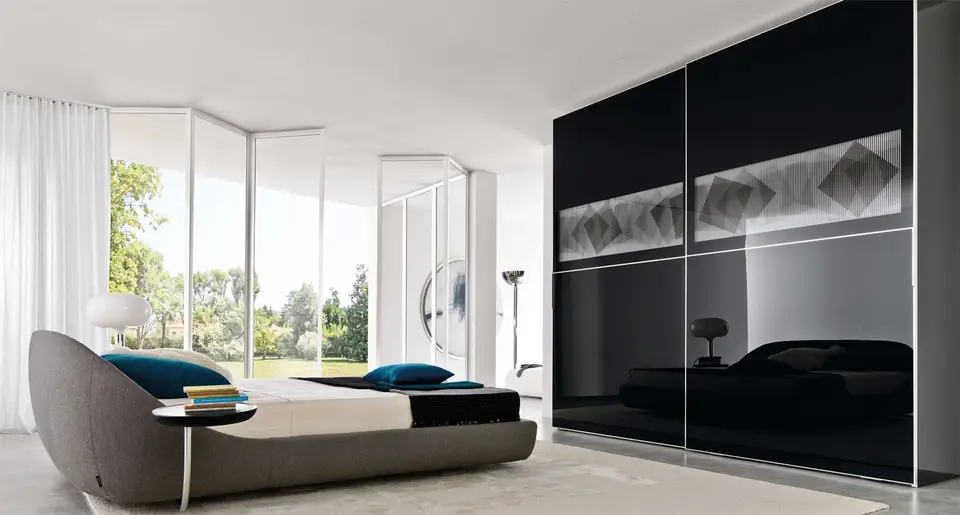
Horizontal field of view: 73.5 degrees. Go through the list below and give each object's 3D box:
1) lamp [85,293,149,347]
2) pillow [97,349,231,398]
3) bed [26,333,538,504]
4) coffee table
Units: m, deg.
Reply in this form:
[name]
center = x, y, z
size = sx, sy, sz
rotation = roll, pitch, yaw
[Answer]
[lamp]
center = -4.158, 0.772, 7.435
size = 0.753, 0.571, 0.686
rotation = 3, 0, 8
[pillow]
center = -2.664, 1.043, 5.643
size = 0.653, 0.173, 0.669
rotation = 4, -9, 28
[bed]
center = -1.735, 1.218, 5.567
size = 3.226, 0.937, 1.636
rotation = 1, -4, -27
[coffee table]
center = -2.121, 1.549, 4.939
size = 0.698, 0.900, 0.512
rotation = -1, 6, -23
